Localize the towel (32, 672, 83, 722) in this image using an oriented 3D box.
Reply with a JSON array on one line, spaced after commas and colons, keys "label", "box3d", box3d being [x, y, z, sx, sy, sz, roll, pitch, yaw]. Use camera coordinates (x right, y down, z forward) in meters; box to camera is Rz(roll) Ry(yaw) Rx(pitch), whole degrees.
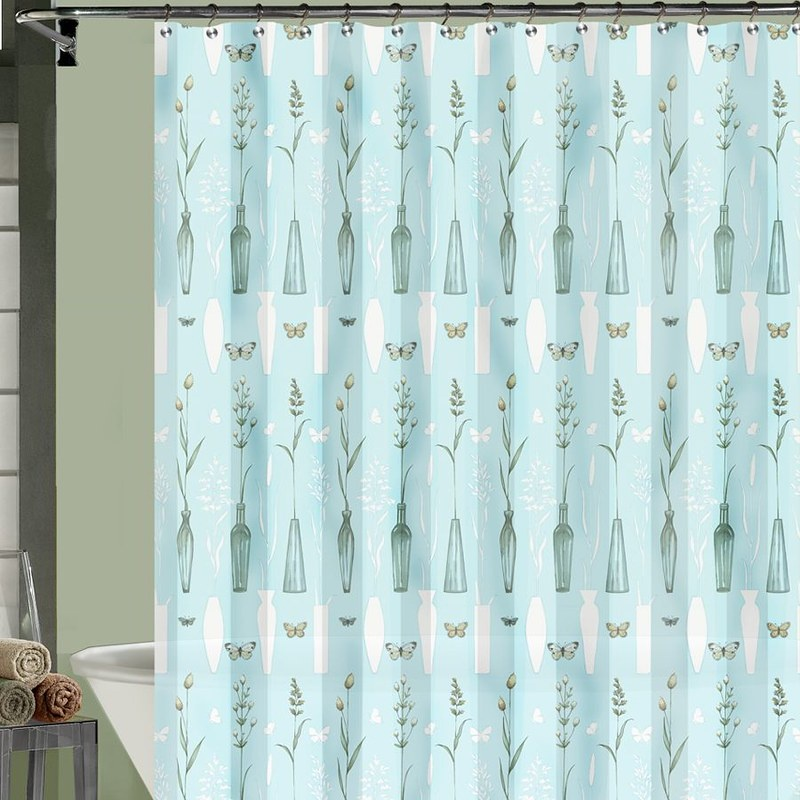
[{"label": "towel", "box3d": [-0.797, 0.675, 3.305, 0.077, 0.113, 0.113, 2, -2, -15]}]
